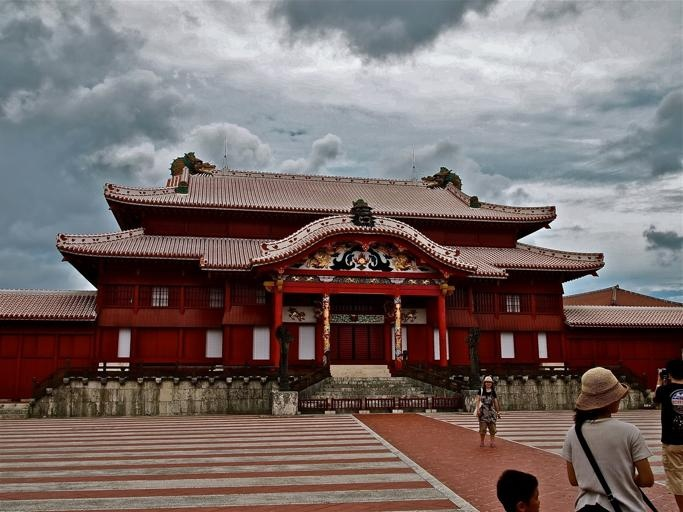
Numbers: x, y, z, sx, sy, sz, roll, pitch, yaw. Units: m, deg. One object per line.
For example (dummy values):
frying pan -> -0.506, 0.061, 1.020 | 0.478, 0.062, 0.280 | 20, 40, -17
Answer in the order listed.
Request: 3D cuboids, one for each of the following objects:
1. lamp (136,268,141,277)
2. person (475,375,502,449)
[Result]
lamp -> -9.796, 0.754, 30.957 | 0.225, 0.343, 0.296 | 3, -13, -19
person -> 3.748, 3.988, 16.475 | 0.511, 1.736, 0.693 | -4, -12, 11
